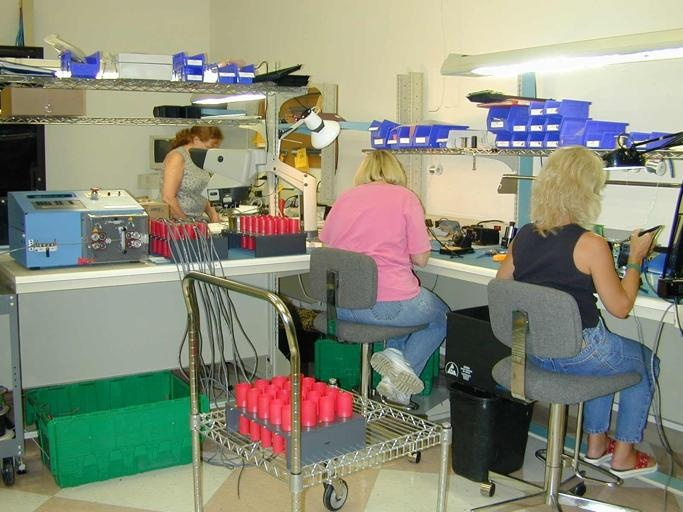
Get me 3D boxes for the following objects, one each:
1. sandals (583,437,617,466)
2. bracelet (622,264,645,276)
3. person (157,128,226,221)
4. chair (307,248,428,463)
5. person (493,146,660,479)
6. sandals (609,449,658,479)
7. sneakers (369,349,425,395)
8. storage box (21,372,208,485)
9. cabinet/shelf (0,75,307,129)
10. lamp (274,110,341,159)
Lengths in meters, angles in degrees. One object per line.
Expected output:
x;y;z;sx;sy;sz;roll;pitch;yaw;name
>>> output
1.154;0.857;2.632;0.209;0.080;0.076;-11;14;-40;sandals
1.149;0.056;2.347;0.067;0.028;0.072;5;14;33;bracelet
-0.987;-0.531;3.937;0.423;0.657;0.749;-4;13;-11;person
0.111;0.365;2.964;0.496;0.830;0.511;5;14;25;chair
1.059;0.264;2.540;0.720;1.387;0.593;-3;5;-27;person
1.256;0.895;2.551;0.229;0.096;0.096;-10;13;-24;sandals
0.256;0.495;2.795;0.165;0.155;0.348;-13;12;-29;sneakers
-1.111;0.730;2.869;0.667;0.282;0.536;-2;8;-29;storage box
-1.058;-0.853;3.304;1.484;0.228;0.908;-7;14;-23;cabinet/shelf
-0.204;-0.675;3.205;0.390;0.198;0.145;-5;34;30;lamp
